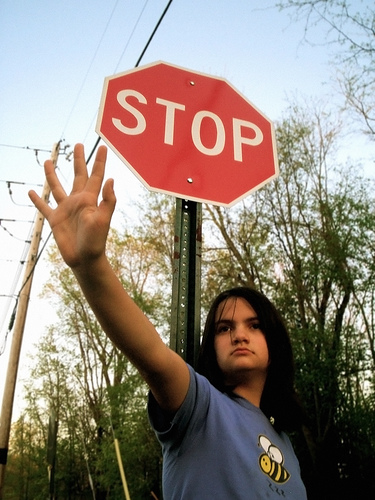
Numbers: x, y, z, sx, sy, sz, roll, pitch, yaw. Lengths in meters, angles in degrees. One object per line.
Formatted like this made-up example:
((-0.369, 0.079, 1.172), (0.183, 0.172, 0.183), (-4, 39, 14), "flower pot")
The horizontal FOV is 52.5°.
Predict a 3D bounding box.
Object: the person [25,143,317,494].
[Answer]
((0.027, 0.226, 1.062), (0.313, 0.920, 0.877), (-19, -22, 35), "person")

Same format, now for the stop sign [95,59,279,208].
((0.040, -0.409, 1.310), (0.728, 0.581, 0.059), (3, -19, -29), "stop sign")
